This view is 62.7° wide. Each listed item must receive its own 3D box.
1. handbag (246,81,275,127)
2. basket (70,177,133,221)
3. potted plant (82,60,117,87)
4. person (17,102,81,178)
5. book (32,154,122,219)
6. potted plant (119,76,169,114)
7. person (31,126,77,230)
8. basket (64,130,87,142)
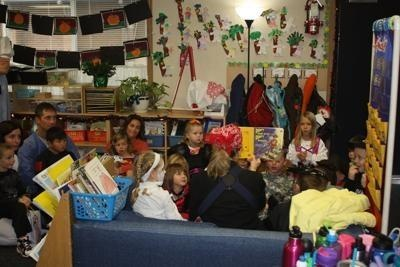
[{"bbox_3d":[0.899,-0.446,4.946,0.461,0.612,0.215,1,-1,5],"label":"handbag"},{"bbox_3d":[-0.789,0.555,2.570,0.331,0.173,0.468,2,-7,-6],"label":"basket"},{"bbox_3d":[-1.642,-0.933,5.382,0.558,0.431,0.618,3,-2,5],"label":"potted plant"},{"bbox_3d":[-1.932,0.099,4.249,0.661,0.923,0.758,25,24,38],"label":"person"},{"bbox_3d":[-1.022,0.366,2.615,0.655,0.329,0.524,-17,19,39],"label":"book"},{"bbox_3d":[-0.947,-0.640,5.397,0.713,0.400,0.546,-1,8,-11],"label":"potted plant"},{"bbox_3d":[-1.881,0.633,4.281,0.459,1.570,0.564,20,23,8],"label":"person"},{"bbox_3d":[-1.994,0.028,5.295,0.213,0.141,0.221,2,5,0],"label":"basket"}]
